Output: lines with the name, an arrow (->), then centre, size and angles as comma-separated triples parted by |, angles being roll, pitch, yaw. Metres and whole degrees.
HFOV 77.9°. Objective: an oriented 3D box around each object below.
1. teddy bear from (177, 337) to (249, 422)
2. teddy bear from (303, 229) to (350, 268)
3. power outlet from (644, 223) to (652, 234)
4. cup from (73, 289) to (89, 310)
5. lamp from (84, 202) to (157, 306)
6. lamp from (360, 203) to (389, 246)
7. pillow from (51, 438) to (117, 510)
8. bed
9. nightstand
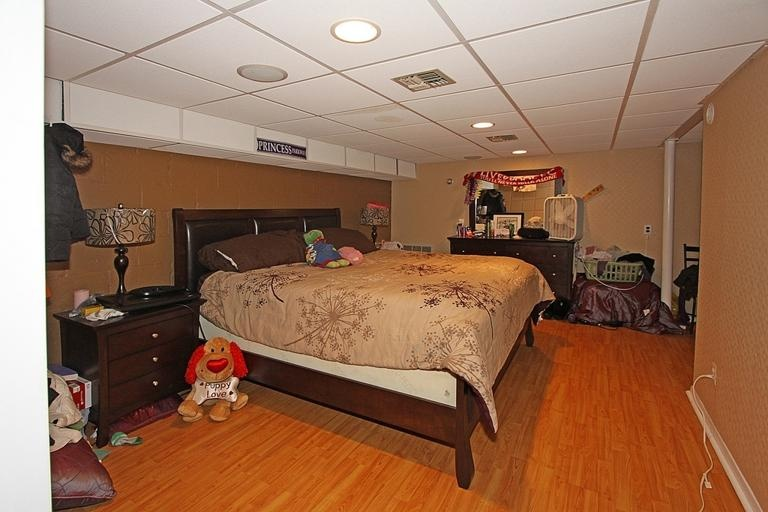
teddy bear -> -1.486, 1.040, 4.292 | 0.698, 0.739, 0.635 | 11, 5, -30
teddy bear -> -0.679, -0.104, 5.091 | 0.323, 0.192, 0.485 | -8, 30, -42
power outlet -> 3.615, -0.357, 6.509 | 0.108, 0.145, 0.061 | 5, 8, 31
cup -> -2.581, 0.364, 4.049 | 0.153, 0.165, 0.149 | 3, 11, -1
lamp -> -2.345, -0.040, 4.188 | 0.503, 0.803, 0.442 | -4, 9, -41
lamp -> -0.171, -0.497, 7.356 | 0.194, 0.884, 0.804 | 1, 3, 29
pillow -> -2.100, 1.534, 3.264 | 0.336, 0.399, 0.309 | 6, 8, 37
bed -> -0.267, 0.545, 4.762 | 3.074, 1.752, 2.471 | 5, 8, 31
nightstand -> -2.252, 0.936, 4.243 | 0.697, 0.977, 1.045 | 12, 13, 25
